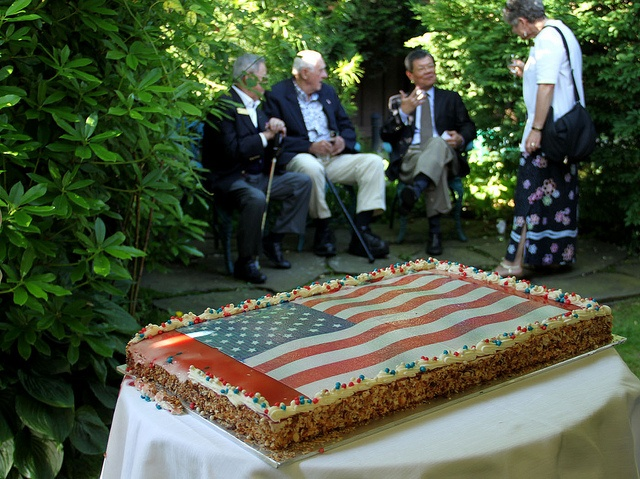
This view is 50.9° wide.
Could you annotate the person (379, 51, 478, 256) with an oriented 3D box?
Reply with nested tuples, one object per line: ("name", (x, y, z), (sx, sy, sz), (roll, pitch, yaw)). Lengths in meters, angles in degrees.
("person", (0.944, -0.623, 5.869), (0.823, 1.423, 0.653), (0, 11, 5))

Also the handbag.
("handbag", (1.729, -0.747, 4.670), (0.353, 0.398, 0.170), (2, 11, 17))

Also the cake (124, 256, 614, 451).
("cake", (0.229, 0.373, 2.494), (1.230, 0.180, 0.777), (-8, 11, -32))

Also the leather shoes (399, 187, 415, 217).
("leather shoes", (0.745, -0.325, 5.719), (0.088, 0.257, 0.108), (6, 40, 10))

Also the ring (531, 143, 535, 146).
("ring", (1.503, -0.672, 4.733), (0.020, 0.020, 0.005), (0, -4, 9))

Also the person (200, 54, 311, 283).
("person", (-0.528, -0.502, 4.977), (0.847, 1.677, 1.518), (0, 10, 4))

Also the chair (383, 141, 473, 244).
("chair", (1.167, -0.363, 6.507), (1.086, 1.226, 0.923), (0, 0, 4))

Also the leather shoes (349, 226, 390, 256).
("leather shoes", (0.434, 0.024, 5.710), (0.370, 0.233, 0.178), (4, 11, 37))

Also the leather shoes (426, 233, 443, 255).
("leather shoes", (0.988, 0.043, 5.794), (0.186, 0.230, 0.549), (0, 1, 8))
